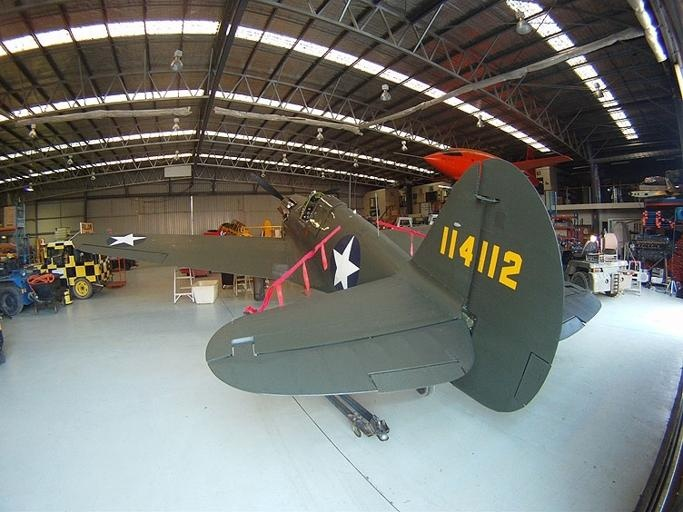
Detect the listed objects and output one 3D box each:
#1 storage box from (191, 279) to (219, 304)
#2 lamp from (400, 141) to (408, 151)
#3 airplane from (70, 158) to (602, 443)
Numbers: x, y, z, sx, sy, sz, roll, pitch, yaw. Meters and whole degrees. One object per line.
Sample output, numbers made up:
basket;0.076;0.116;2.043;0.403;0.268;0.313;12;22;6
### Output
storage box;-3.340;0.863;11.418;0.468;0.377;0.710;2;7;-4
lamp;2.548;-4.449;18.592;0.309;0.122;0.831;1;30;4
airplane;0.044;0.065;6.512;5.329;2.144;4.796;2;22;-37
